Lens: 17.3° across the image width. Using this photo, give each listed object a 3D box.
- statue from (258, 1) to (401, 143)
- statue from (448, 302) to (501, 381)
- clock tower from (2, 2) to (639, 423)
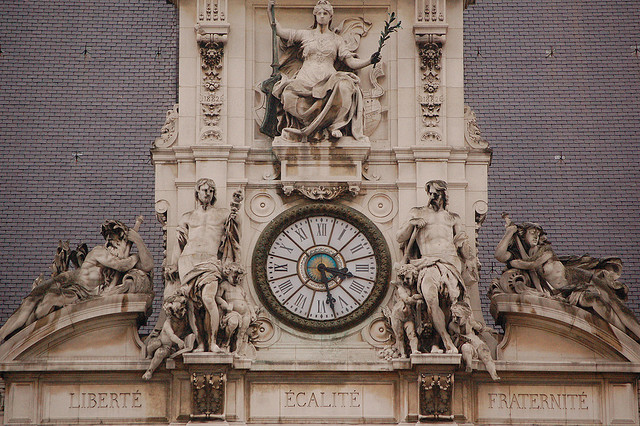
[{"bbox_3d":[0.251,-3.471,51.834,3.364,3.884,1.246,2,-14,-8],"label":"statue"},{"bbox_3d":[3.544,3.011,49.983,0.815,1.370,1.565,-16,-53,11],"label":"statue"},{"bbox_3d":[-0.064,0.338,52.109,10.975,7.798,1.412,0,-12,-1],"label":"clock tower"}]
